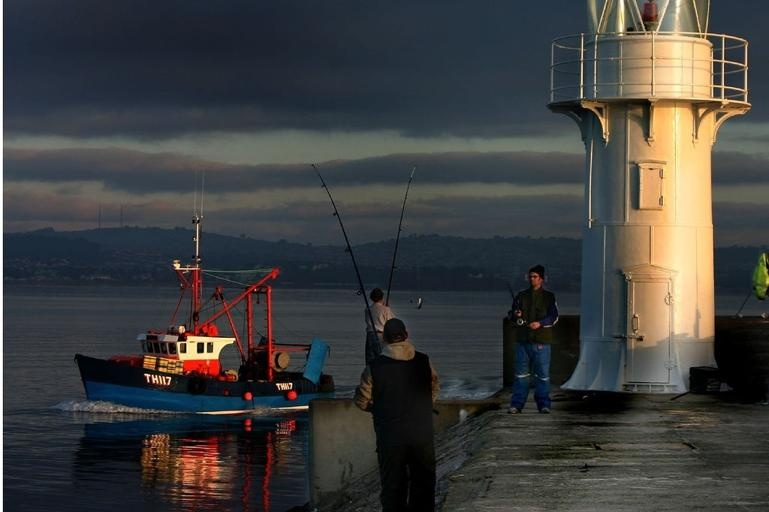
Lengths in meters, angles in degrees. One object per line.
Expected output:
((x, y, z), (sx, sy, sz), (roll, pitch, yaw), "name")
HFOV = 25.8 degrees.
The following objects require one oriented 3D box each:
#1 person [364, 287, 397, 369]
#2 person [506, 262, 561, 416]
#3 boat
((-0.088, 1.562, 36.615), (0.695, 1.639, 0.585), (8, -29, -9), "person")
((3.115, 1.778, 35.214), (0.990, 3.112, 1.194), (-2, -4, 3), "person")
((-7.414, 3.743, 68.883), (8.891, 6.983, 9.953), (-1, -3, 28), "boat")
